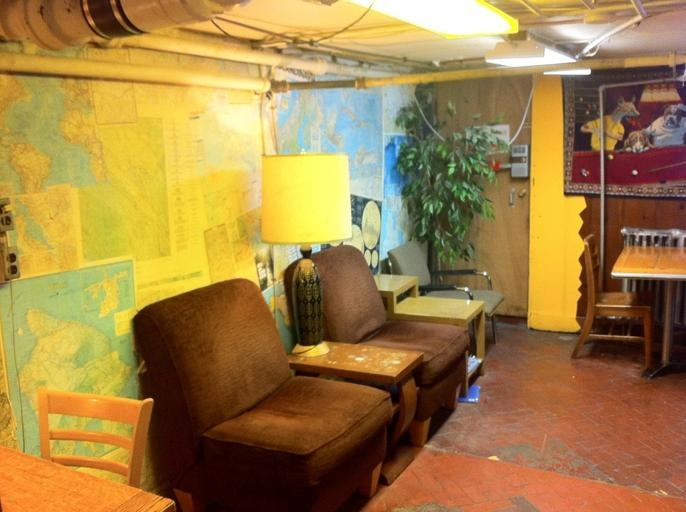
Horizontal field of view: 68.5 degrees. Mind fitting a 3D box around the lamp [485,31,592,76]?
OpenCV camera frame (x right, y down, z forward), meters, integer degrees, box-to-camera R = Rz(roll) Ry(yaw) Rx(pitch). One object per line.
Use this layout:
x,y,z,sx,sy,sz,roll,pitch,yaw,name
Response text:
1.553,-1.591,4.011,0.532,0.209,1.002,8,14,40,lamp
